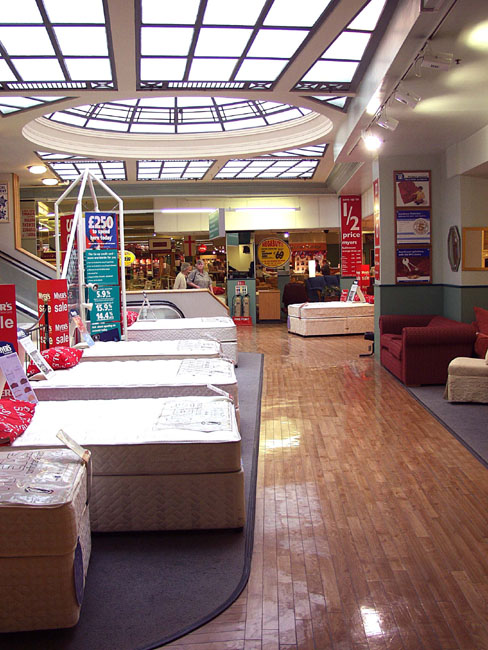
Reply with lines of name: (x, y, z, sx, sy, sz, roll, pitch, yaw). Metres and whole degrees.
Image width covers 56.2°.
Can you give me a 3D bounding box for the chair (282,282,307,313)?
chair: (1.673, -0.987, 15.197, 0.763, 1.061, 1.004, 1, -3, -9)
